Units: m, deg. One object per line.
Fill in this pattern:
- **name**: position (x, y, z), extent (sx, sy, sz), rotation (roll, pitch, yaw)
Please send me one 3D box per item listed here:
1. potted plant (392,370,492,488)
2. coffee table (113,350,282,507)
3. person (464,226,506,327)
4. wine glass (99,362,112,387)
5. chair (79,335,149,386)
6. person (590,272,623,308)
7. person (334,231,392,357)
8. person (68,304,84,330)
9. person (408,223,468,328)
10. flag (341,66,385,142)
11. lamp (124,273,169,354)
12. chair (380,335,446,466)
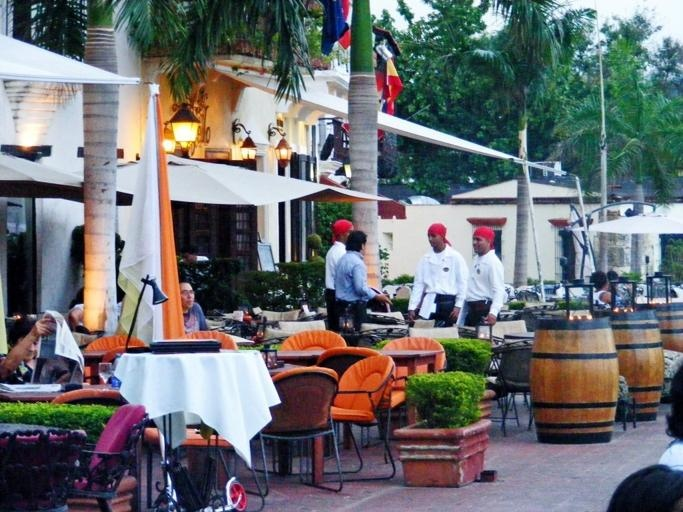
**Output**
- **potted plant**: position (1.261, 2.183, 22.756), extent (1.302, 1.636, 1.146), rotation (-1, -1, -28)
- **coffee table**: position (-1.806, 2.099, 21.243), extent (1.689, 1.654, 1.810), rotation (1, -4, -18)
- **person**: position (2.152, 0.326, 27.134), extent (0.529, 1.493, 0.980), rotation (-1, -2, -11)
- **wine glass**: position (-2.900, 1.456, 22.106), extent (0.148, 0.260, 0.441), rotation (-1, -2, -8)
- **chair**: position (-3.108, 1.317, 23.937), extent (0.723, 0.739, 0.951), rotation (2, 2, 32)
- **person**: position (4.250, 0.591, 29.153), extent (0.389, 0.817, 0.404), rotation (4, 21, 38)
- **person**: position (0.221, 0.755, 27.255), extent (0.754, 2.233, 0.751), rotation (-3, 9, -37)
- **person**: position (-4.026, 0.949, 27.262), extent (0.233, 0.388, 1.109), rotation (-1, -2, -9)
- **person**: position (1.497, 0.322, 27.888), extent (1.017, 1.571, 0.614), rotation (-2, -2, 19)
- **flag**: position (0.339, -2.330, 29.974), extent (0.475, 1.611, 0.495), rotation (-1, -2, -1)
- **lamp**: position (-2.451, 0.729, 22.760), extent (0.490, 1.153, 0.254), rotation (14, 31, -10)
- **chair**: position (0.894, 1.618, 24.177), extent (0.887, 1.200, 0.976), rotation (0, -4, 20)
